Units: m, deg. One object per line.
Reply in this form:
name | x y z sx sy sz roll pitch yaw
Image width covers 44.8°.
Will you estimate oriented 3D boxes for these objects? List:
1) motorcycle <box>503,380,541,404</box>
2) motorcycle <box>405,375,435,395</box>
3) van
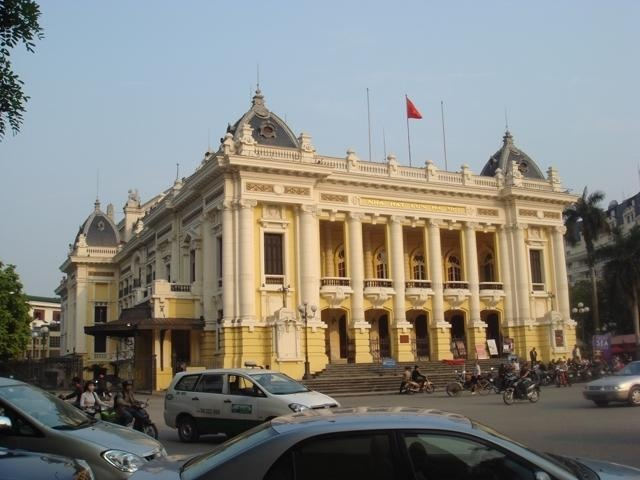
motorcycle | 7.642 5.859 29.966 1.640 0.917 0.740 13 -32 -19
motorcycle | 4.598 6.903 37.290 1.776 0.920 0.732 0 -6 -22
van | -2.180 4.304 20.817 4.670 1.705 2.319 -13 -18 28
